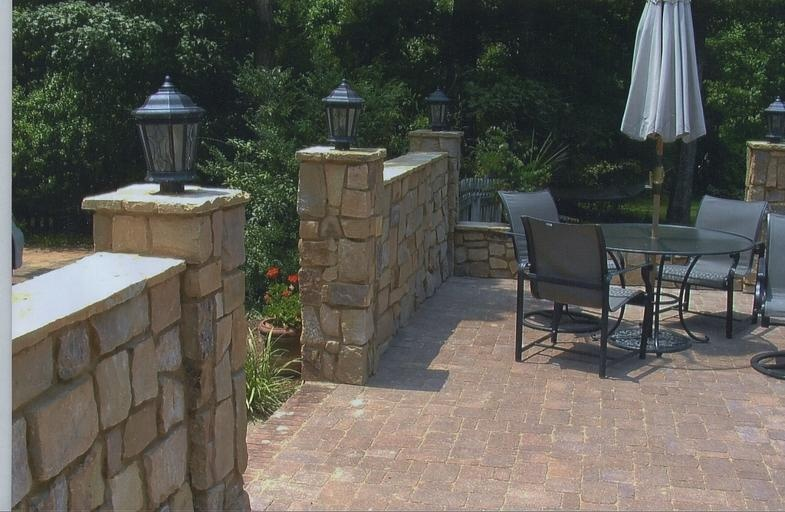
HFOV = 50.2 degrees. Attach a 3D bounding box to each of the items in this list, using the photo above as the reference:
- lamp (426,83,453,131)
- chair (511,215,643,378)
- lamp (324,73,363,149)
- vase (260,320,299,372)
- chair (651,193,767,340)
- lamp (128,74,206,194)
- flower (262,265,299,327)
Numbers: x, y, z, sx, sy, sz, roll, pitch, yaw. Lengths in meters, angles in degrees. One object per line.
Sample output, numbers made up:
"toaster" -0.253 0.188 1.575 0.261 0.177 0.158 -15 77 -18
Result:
"lamp" 0.651 -2.036 11.667 0.361 0.525 0.370 -1 7 -12
"chair" 1.819 0.297 7.903 1.176 1.398 1.232 4 10 20
"lamp" -0.428 -1.291 7.642 0.389 0.592 0.416 2 9 -2
"vase" -1.085 0.904 8.270 0.413 0.425 0.430 0 0 2
"chair" 3.384 0.073 8.821 1.049 1.342 0.860 -8 14 -39
"lamp" -1.477 -0.815 5.610 0.479 0.717 0.512 -1 10 -4
"flower" -1.197 0.377 8.964 0.297 0.474 0.354 6 7 -15
